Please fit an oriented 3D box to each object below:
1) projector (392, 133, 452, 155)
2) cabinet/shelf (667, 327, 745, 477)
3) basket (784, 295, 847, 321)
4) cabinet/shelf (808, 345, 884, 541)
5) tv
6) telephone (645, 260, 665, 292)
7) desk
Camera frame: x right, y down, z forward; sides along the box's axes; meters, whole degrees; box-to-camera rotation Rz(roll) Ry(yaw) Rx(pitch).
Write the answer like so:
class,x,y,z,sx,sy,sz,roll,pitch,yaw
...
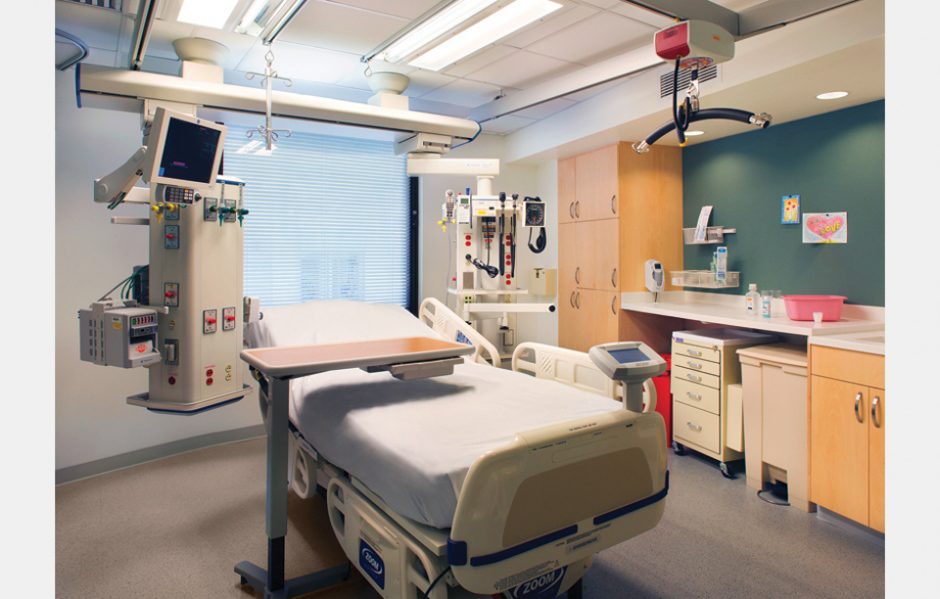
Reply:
class,x,y,z,sx,sy,sz,roll,pitch,yaw
projector,-0.423,-1.278,5.364,0.238,0.084,0.239,-3,4,-33
cabinet/shelf,1.853,0.779,4.963,0.362,0.992,0.711,-6,15,-19
basket,2.454,0.063,4.654,0.288,0.190,0.316,-8,16,-27
cabinet/shelf,2.321,0.817,4.007,0.170,1.037,0.596,-7,16,-22
tv,-1.710,-0.906,3.921,0.142,0.487,0.501,13,19,42
telephone,1.664,-0.189,5.807,0.175,0.318,0.261,4,15,17
desk,-0.613,0.915,3.491,1.511,1.324,0.672,0,1,-38
